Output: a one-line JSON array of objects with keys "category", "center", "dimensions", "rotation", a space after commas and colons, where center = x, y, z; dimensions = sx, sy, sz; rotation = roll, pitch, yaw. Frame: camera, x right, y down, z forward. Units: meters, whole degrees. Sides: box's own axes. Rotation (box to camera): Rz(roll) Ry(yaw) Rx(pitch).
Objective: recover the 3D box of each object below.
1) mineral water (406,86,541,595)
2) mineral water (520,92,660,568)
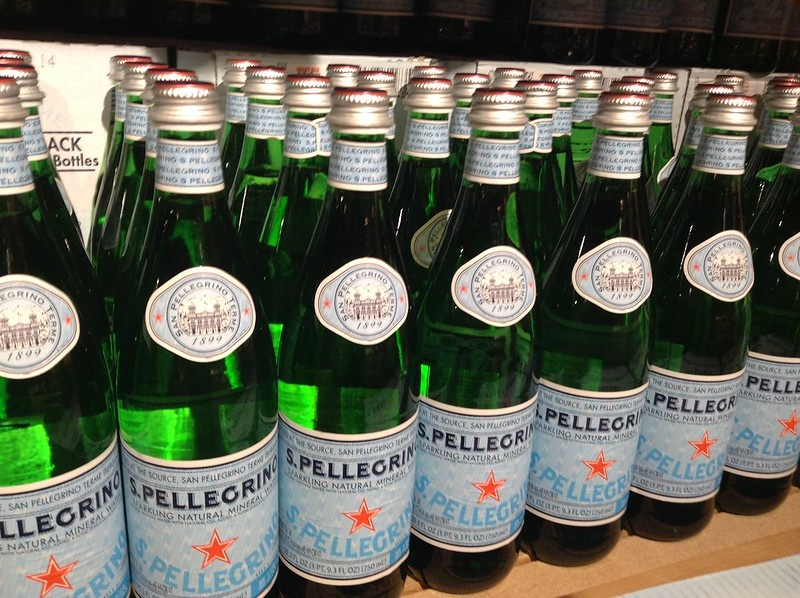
[{"category": "mineral water", "center": [0.096, 0.043, 0.941], "dimensions": [0.147, 0.588, 0.244], "rotation": [2, 20, 10]}, {"category": "mineral water", "center": [0.233, 0.050, 0.932], "dimensions": [0.138, 0.576, 0.138], "rotation": [5, 21, 18]}]
